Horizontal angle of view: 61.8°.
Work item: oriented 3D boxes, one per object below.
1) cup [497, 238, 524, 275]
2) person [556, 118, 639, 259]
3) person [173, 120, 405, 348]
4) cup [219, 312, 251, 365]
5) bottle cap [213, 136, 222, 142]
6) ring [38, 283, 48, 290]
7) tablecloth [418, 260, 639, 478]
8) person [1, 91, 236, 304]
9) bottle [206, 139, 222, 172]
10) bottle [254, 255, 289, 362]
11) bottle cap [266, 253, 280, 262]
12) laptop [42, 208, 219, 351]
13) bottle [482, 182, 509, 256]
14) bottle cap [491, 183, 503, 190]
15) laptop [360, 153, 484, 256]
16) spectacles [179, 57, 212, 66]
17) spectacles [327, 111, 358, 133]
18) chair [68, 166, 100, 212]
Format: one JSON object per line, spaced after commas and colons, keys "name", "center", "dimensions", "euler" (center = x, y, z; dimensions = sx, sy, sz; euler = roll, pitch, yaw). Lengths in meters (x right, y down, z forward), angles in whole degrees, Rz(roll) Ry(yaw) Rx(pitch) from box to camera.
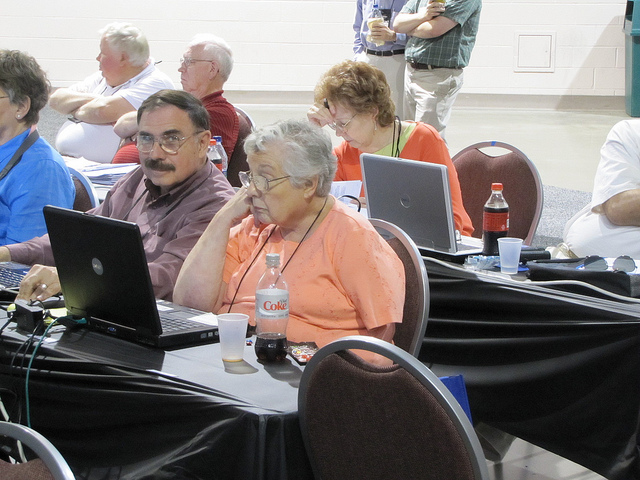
{"name": "cup", "center": [0.734, 0.060, 2.078], "dimensions": [0.133, 0.140, 0.126], "euler": [0, 3, 0]}
{"name": "person", "center": [1.541, -0.272, 2.901], "dimensions": [0.345, 0.723, 0.322], "euler": [5, 15, 23]}
{"name": "person", "center": [-0.103, 0.008, 1.833], "dimensions": [0.897, 0.770, 0.530], "euler": [2, 7, 33]}
{"name": "cup", "center": [-0.204, 0.239, 1.333], "dimensions": [0.102, 0.124, 0.109], "euler": [0, 4, 0]}
{"name": "bottle cap", "center": [-0.649, -0.636, 3.389], "dimensions": [0.057, 0.034, 0.058], "euler": [3, 4, 31]}
{"name": "ring", "center": [-0.892, 0.149, 1.720], "dimensions": [0.017, 0.013, 0.017], "euler": [36, 4, -3]}
{"name": "tablecloth", "center": [0.734, 0.424, 1.790], "dimensions": [0.201, 0.461, 0.787], "euler": [-8, 14, -36]}
{"name": "person", "center": [-0.763, -0.212, 2.360], "dimensions": [1.067, 0.793, 0.800], "euler": [-1, 10, -43]}
{"name": "bottle", "center": [-0.646, -0.520, 3.270], "dimensions": [0.080, 0.179, 0.304], "euler": [-4, 13, -10]}
{"name": "bottle", "center": [-0.130, 0.154, 1.393], "dimensions": [0.088, 0.227, 0.280], "euler": [-2, 13, -4]}
{"name": "bottle cap", "center": [-0.128, 0.046, 1.404], "dimensions": [0.028, 0.012, 0.028], "euler": [0, 4, 6]}
{"name": "laptop", "center": [-0.495, 0.092, 1.553], "dimensions": [0.436, 0.310, 0.369], "euler": [7, 8, 34]}
{"name": "bottle", "center": [0.740, -0.078, 2.261], "dimensions": [0.098, 0.306, 0.284], "euler": [3, 14, 17]}
{"name": "bottle cap", "center": [0.758, -0.226, 2.292], "dimensions": [0.066, 0.033, 0.064], "euler": [0, 6, -1]}
{"name": "laptop", "center": [0.498, -0.196, 2.433], "dimensions": [0.475, 0.406, 0.561], "euler": [-10, 15, -40]}
{"name": "spectacles", "center": [-0.950, -1.280, 3.878], "dimensions": [0.118, 0.034, 0.110], "euler": [-2, 7, -23]}
{"name": "spectacles", "center": [0.107, -0.629, 2.884], "dimensions": [0.065, 0.102, 0.218], "euler": [-10, 16, -32]}
{"name": "chair", "center": [-1.230, -0.258, 2.760], "dimensions": [0.244, 0.208, 0.109], "euler": [11, 19, 42]}
